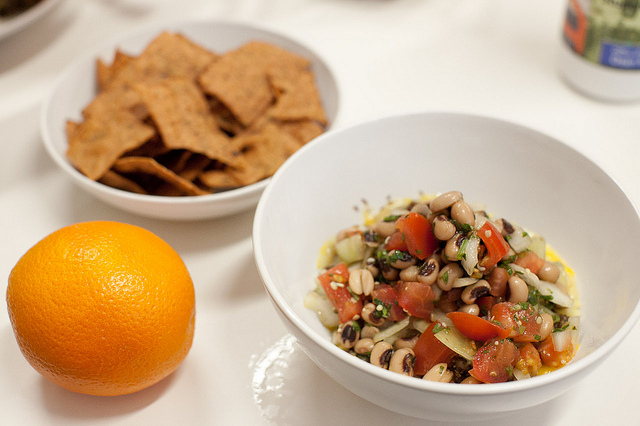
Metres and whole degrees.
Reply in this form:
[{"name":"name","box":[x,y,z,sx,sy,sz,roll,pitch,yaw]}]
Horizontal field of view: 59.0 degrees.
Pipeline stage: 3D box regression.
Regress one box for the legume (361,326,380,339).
[{"name":"legume","box":[0.098,0.239,1.144,0.023,0.024,0.012,-15,83,32]}]

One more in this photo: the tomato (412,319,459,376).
[{"name":"tomato","box":[0.219,0.258,1.126,0.045,0.081,0.103,16,86,24]}]

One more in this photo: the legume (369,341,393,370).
[{"name":"legume","box":[0.117,0.272,1.091,0.036,0.026,0.049,17,88,-4]}]

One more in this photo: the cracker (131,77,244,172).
[{"name":"cracker","box":[-0.316,-0.227,1.349,0.182,0.072,0.287,-20,77,-28]}]

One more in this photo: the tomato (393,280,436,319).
[{"name":"tomato","box":[0.183,0.168,1.140,0.096,0.063,0.065,20,62,15]}]

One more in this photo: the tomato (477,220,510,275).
[{"name":"tomato","box":[0.338,0.063,1.151,0.046,0.087,0.093,14,30,38]}]

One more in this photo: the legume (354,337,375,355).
[{"name":"legume","box":[0.089,0.263,1.126,0.036,0.021,0.027,-41,71,-4]}]

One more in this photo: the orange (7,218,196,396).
[{"name":"orange","box":[-0.435,0.221,1.259,0.349,0.278,0.340,29,55,2]}]

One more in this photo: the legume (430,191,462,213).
[{"name":"legume","box":[0.254,-0.026,1.141,0.052,0.034,0.018,-31,94,14]}]

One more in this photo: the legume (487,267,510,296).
[{"name":"legume","box":[0.340,0.132,1.105,0.037,0.029,0.053,1,85,19]}]

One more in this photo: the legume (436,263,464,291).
[{"name":"legume","box":[0.255,0.127,1.130,0.035,0.032,0.058,37,81,15]}]

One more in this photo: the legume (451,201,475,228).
[{"name":"legume","box":[0.284,-0.001,1.132,0.034,0.031,0.052,-31,93,-8]}]

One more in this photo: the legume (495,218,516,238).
[{"name":"legume","box":[0.399,0.029,1.220,0.041,0.014,0.042,16,38,-12]}]

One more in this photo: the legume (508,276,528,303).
[{"name":"legume","box":[0.389,0.151,1.116,0.034,0.026,0.045,-4,28,-7]}]

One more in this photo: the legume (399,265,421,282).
[{"name":"legume","box":[0.179,0.119,1.144,0.027,0.032,0.019,-15,89,40]}]

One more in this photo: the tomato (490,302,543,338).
[{"name":"tomato","box":[0.393,0.199,1.106,0.099,0.029,0.101,-2,41,36]}]

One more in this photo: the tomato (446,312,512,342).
[{"name":"tomato","box":[0.299,0.218,1.080,0.118,0.051,0.033,16,60,13]}]

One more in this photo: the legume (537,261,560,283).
[{"name":"legume","box":[0.479,0.127,1.190,0.038,0.023,0.043,31,66,21]}]

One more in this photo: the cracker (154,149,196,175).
[{"name":"cracker","box":[-0.348,-0.127,1.360,0.067,0.019,0.071,-22,77,11]}]

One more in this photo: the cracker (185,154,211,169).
[{"name":"cracker","box":[-0.291,-0.125,1.349,0.011,0.055,0.016,43,42,-23]}]

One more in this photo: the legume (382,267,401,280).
[{"name":"legume","box":[0.147,0.124,1.179,0.029,0.022,0.024,5,94,-1]}]

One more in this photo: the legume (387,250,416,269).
[{"name":"legume","box":[0.172,0.093,1.157,0.043,0.035,0.025,5,42,1]}]

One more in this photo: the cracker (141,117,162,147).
[{"name":"cracker","box":[-0.397,-0.196,1.336,0.055,0.015,0.054,-22,40,-20]}]

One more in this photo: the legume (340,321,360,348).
[{"name":"legume","box":[0.058,0.241,1.132,0.034,0.013,0.050,5,85,4]}]

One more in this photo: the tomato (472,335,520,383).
[{"name":"tomato","box":[0.326,0.280,1.062,0.071,0.046,0.093,32,66,21]}]

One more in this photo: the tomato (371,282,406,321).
[{"name":"tomato","box":[0.140,0.177,1.156,0.051,0.028,0.079,-39,80,3]}]

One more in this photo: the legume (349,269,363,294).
[{"name":"legume","box":[0.071,0.140,1.165,0.032,0.024,0.064,0,56,-1]}]

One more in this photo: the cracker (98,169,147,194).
[{"name":"cracker","box":[-0.470,-0.072,1.331,0.085,0.044,0.025,14,68,-14]}]

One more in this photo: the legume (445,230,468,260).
[{"name":"legume","box":[0.276,0.048,1.132,0.027,0.019,0.051,-17,81,-11]}]

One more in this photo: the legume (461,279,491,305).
[{"name":"legume","box":[0.318,0.154,1.125,0.035,0.066,0.034,48,39,-9]}]

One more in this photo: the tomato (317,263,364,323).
[{"name":"tomato","box":[0.051,0.157,1.175,0.086,0.035,0.145,-28,71,1]}]

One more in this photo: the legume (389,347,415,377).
[{"name":"legume","box":[0.156,0.281,1.086,0.045,0.030,0.055,9,60,9]}]

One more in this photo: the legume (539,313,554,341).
[{"name":"legume","box":[0.436,0.220,1.098,0.034,0.025,0.047,-8,85,2]}]

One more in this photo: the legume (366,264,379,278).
[{"name":"legume","box":[0.112,0.119,1.207,0.023,0.023,0.013,28,92,-7]}]

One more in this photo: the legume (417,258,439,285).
[{"name":"legume","box":[0.215,0.115,1.126,0.034,0.027,0.050,28,90,5]}]

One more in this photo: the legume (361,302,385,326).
[{"name":"legume","box":[0.107,0.206,1.141,0.033,0.024,0.045,-18,71,-13]}]

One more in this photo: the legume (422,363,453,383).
[{"name":"legume","box":[0.221,0.298,1.058,0.048,0.017,0.028,-15,45,-17]}]
